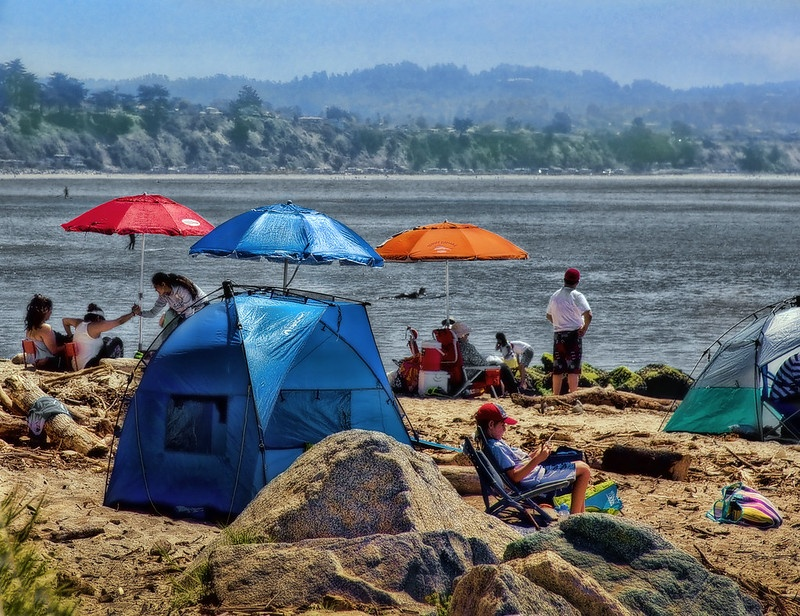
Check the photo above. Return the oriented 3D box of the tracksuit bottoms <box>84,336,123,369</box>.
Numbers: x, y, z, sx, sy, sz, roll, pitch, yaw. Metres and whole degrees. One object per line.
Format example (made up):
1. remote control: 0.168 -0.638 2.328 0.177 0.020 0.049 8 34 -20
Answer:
1. tracksuit bottoms: -4.808 0.667 26.230 0.331 0.198 0.579 -4 24 45

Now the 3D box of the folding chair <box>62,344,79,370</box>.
1. folding chair: -5.357 0.743 25.991 0.309 0.446 0.124 5 6 37

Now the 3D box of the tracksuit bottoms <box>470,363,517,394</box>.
1. tracksuit bottoms: 1.548 1.145 27.080 0.599 0.804 0.577 2 -3 -12

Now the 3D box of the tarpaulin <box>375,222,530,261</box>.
1. tarpaulin: 0.764 -1.110 26.572 2.307 0.610 1.154 2 5 4

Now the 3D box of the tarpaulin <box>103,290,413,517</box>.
1. tarpaulin: -2.323 1.529 21.489 2.983 2.664 3.539 2 4 31

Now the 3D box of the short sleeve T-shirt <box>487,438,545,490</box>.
1. short sleeve T-shirt: 1.445 1.962 20.307 0.314 0.549 0.563 -38 10 -11

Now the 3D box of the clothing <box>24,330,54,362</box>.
1. clothing: -5.942 0.583 26.314 0.413 0.422 0.236 6 20 23

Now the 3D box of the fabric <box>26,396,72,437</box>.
1. fabric: -4.915 1.448 22.164 0.471 0.486 0.531 18 9 42

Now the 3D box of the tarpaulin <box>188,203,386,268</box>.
1. tarpaulin: -1.743 -1.172 24.371 2.631 0.900 0.945 1 5 -7

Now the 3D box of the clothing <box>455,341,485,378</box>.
1. clothing: 1.149 0.848 27.151 0.360 0.674 0.511 -15 5 -21

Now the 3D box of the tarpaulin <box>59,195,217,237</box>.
1. tarpaulin: -4.287 -1.549 26.419 2.213 0.662 1.336 1 5 -12

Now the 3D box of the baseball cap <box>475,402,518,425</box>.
1. baseball cap: 1.182 1.316 20.184 0.408 0.217 0.263 3 11 -5

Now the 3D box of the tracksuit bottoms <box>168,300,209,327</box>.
1. tracksuit bottoms: -3.319 0.079 24.010 0.700 0.277 0.534 -14 1 39
